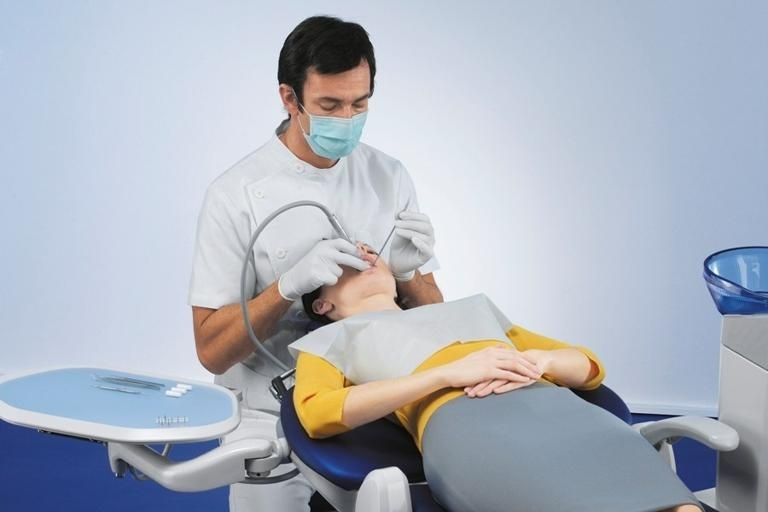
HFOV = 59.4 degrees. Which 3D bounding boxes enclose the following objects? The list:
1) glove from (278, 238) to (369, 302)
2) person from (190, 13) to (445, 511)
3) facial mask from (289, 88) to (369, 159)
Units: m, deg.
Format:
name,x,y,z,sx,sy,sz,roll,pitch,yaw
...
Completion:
name,x,y,z,sx,sy,sz,roll,pitch,yaw
glove,-0.252,0.032,2.798,0.370,0.264,0.229,-2,8,-26
person,-0.368,-0.138,3.051,0.980,2.456,0.776,-1,19,-16
facial mask,-0.201,-0.565,2.919,0.236,0.294,0.192,0,11,-19
